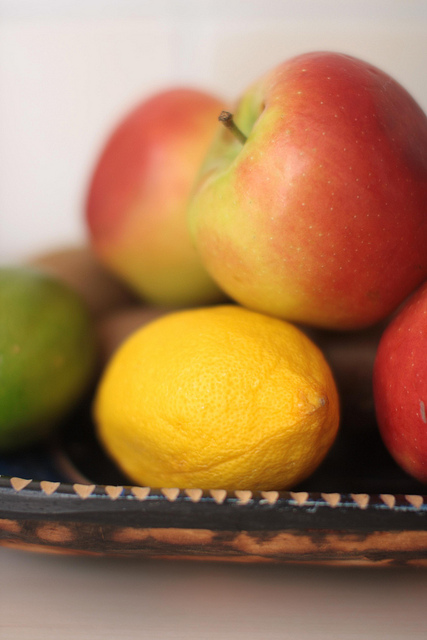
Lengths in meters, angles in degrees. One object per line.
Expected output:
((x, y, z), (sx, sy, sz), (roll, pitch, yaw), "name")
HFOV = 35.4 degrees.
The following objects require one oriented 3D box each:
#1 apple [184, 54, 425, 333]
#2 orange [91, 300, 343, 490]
((0.046, -0.057, 0.332), (0.106, 0.114, 0.100), (-41, 21, 21), "apple")
((0.002, 0.034, 0.366), (0.094, 0.067, 0.120), (-4, 3, -42), "orange")
